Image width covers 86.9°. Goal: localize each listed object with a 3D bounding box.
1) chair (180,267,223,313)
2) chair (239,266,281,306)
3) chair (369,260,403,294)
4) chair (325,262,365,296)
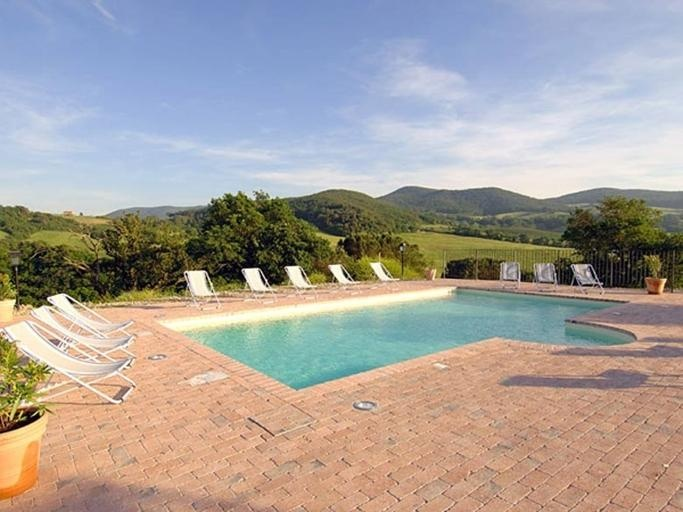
[{"bbox_3d":[-4.296,0.953,11.003,0.828,1.127,2.175,-1,8,-21],"label":"chair"},{"bbox_3d":[-2.766,0.980,12.102,1.004,0.921,1.740,-4,15,-43],"label":"chair"},{"bbox_3d":[1.638,0.753,15.625,1.014,0.742,1.444,-3,11,-45],"label":"chair"},{"bbox_3d":[-0.050,0.861,14.463,1.390,0.731,0.989,5,8,37],"label":"chair"}]
